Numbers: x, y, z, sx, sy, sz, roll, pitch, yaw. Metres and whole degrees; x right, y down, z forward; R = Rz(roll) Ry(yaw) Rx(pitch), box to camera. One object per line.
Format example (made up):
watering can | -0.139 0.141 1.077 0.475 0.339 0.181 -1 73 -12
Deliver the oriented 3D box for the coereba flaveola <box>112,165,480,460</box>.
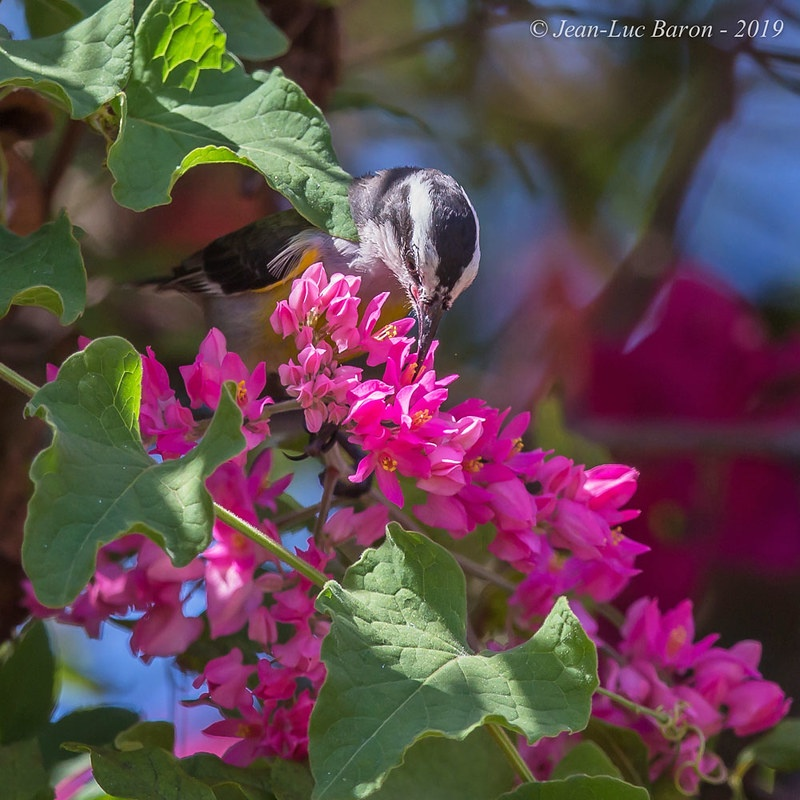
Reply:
coereba flaveola | -0.179 -0.192 1.460 0.516 0.296 0.177 17 18 32
